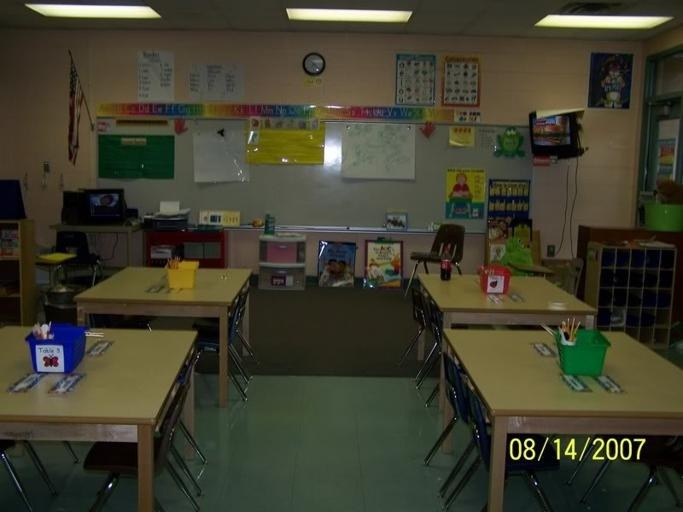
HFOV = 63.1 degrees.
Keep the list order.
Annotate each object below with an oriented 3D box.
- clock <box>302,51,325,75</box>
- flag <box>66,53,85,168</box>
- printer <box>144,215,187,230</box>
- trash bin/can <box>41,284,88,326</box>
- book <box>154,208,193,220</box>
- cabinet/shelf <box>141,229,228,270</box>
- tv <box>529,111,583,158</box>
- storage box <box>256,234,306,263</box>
[{"bbox_3d":[-0.382,-2.663,7.557,0.252,0.271,0.017,6,12,-7],"label":"clock"},{"bbox_3d":[-3.655,-2.028,7.599,0.192,1.501,0.196,6,14,21],"label":"flag"},{"bbox_3d":[-2.389,-0.454,7.418,0.626,0.209,0.247,3,14,8],"label":"printer"},{"bbox_3d":[-2.468,0.442,4.954,0.386,0.347,0.401,1,0,-3],"label":"trash bin/can"},{"bbox_3d":[-2.241,-0.547,7.405,0.310,0.112,0.227,3,3,-14],"label":"book"},{"bbox_3d":[-2.088,-0.103,7.728,0.906,0.548,0.873,-1,2,-5],"label":"cabinet/shelf"},{"bbox_3d":[2.864,-1.471,7.467,0.707,0.737,0.606,0,2,22],"label":"tv"},{"bbox_3d":[-0.803,-0.085,7.609,0.624,0.408,0.368,0,3,-1],"label":"storage box"}]
